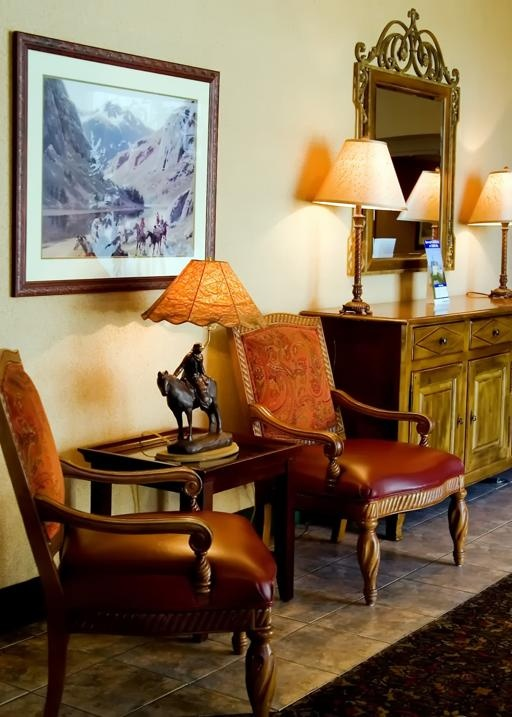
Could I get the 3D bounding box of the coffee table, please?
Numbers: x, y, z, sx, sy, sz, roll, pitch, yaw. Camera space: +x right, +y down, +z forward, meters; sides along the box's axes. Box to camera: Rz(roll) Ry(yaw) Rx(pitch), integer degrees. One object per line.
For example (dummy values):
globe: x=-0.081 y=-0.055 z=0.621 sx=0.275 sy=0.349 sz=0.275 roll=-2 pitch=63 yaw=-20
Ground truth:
coffee table: x=-0.198 y=0.527 z=1.871 sx=0.580 sy=0.541 sz=0.566 roll=-4 pitch=6 yaw=-43

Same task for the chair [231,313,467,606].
chair: x=0.459 y=0.264 z=2.624 sx=0.987 sy=1.308 sz=0.864 roll=0 pitch=4 yaw=43

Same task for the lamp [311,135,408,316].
lamp: x=0.463 y=-0.568 z=2.732 sx=0.380 sy=0.769 sz=0.395 roll=-1 pitch=-2 yaw=27
